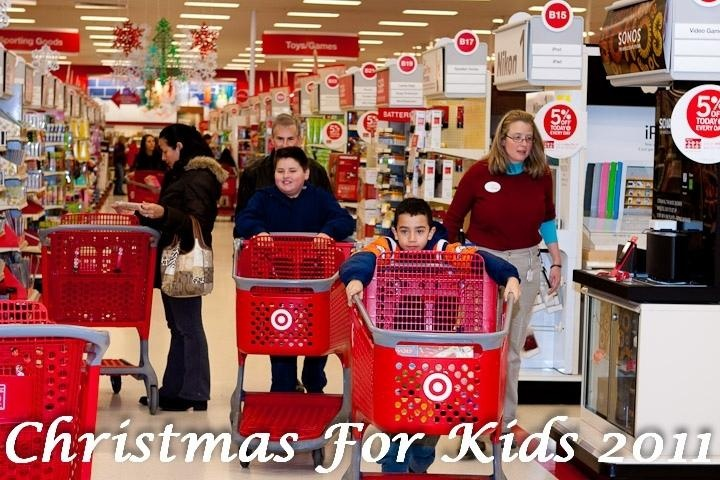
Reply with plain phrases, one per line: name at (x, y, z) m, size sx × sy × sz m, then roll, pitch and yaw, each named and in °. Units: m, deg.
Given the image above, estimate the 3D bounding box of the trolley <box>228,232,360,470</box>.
trolley at (-0.425, 0.705, 4.338) m, size 0.907 × 1.473 × 1.513 m, roll 1°, pitch 0°, yaw -8°

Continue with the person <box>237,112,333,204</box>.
person at (-0.654, -0.587, 5.498) m, size 0.896 × 0.939 × 0.488 m, roll 0°, pitch 6°, yaw -10°

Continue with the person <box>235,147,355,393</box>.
person at (-0.479, 0.291, 4.487) m, size 0.857 × 1.828 × 0.774 m, roll 1°, pitch 8°, yaw 7°

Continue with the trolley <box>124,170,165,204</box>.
trolley at (-1.997, -0.455, 5.848) m, size 0.351 × 0.335 × 0.269 m, roll 18°, pitch 19°, yaw 6°

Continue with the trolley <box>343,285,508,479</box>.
trolley at (0.263, 0.687, 2.955) m, size 0.572 × 0.692 × 0.898 m, roll 1°, pitch -5°, yaw -2°
